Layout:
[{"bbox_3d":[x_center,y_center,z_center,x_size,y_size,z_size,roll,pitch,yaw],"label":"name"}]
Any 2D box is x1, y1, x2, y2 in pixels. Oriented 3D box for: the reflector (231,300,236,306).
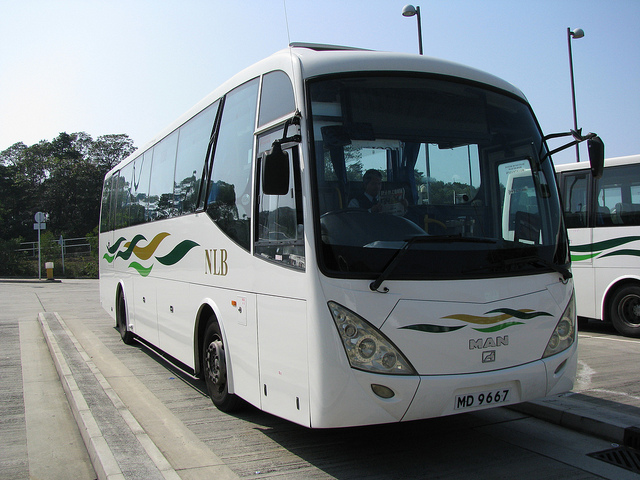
[{"bbox_3d":[-1.017,0.739,5.247,0.044,0.039,0.048,0,0,-10],"label":"reflector"}]
